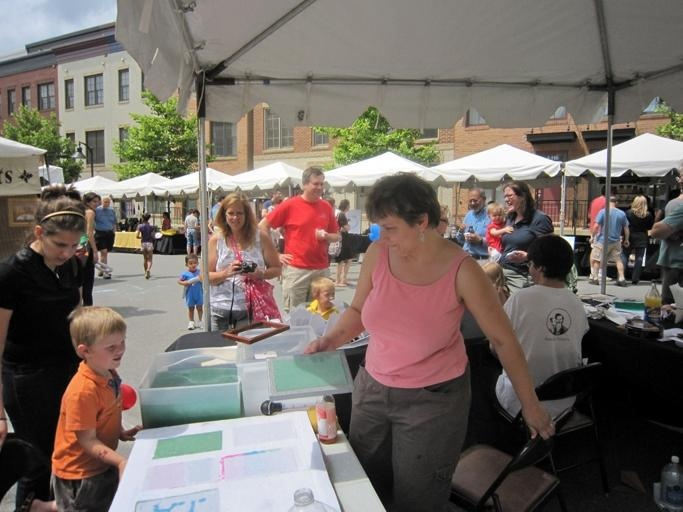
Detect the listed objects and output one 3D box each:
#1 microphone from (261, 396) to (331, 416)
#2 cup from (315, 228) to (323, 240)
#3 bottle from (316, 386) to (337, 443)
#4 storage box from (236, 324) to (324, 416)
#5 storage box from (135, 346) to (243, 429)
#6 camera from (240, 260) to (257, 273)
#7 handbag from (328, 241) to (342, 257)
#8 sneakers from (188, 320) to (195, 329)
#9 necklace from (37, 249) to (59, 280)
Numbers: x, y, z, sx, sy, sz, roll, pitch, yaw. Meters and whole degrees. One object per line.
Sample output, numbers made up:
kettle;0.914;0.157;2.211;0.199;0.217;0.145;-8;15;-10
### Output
microphone;-0.303;0.884;3.567;0.257;0.080;0.154;-2;1;-18
cup;-0.222;-0.219;6.207;0.074;0.092;0.086;0;-1;-2
bottle;-0.077;0.944;3.442;0.128;0.218;0.112;-4;4;-11
storage box;-0.444;0.664;3.724;0.390;0.228;0.512;-4;11;-17
storage box;-0.898;0.769;3.674;0.565;0.370;0.550;-5;4;-12
camera;-0.778;0.091;5.030;0.080;0.084;0.110;5;6;-8
handbag;-0.079;-0.056;6.712;0.149;0.204;0.078;4;8;18
sneakers;-2.086;0.965;8.414;0.071;0.097;0.217;0;0;-4
necklace;-1.893;0.069;3.911;0.093;0.123;0.098;-12;-30;-40
